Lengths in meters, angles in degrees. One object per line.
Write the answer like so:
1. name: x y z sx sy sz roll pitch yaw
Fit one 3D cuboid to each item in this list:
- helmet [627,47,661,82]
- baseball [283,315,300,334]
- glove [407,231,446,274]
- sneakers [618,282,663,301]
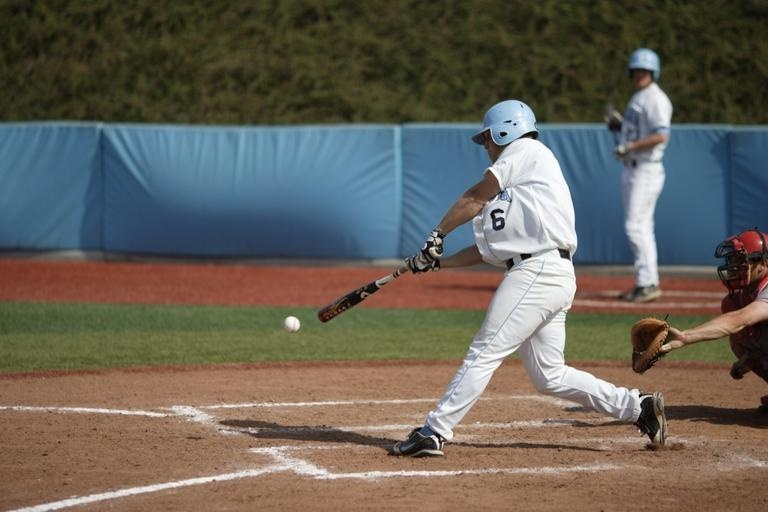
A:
1. helmet: 3.868 -2.799 20.792 0.409 0.342 0.503 1 -1 40
2. baseball: -1.248 0.944 19.254 0.269 0.227 0.247 -1 7 -12
3. glove: 0.493 -0.081 16.967 0.280 0.505 0.417 35 30 27
4. sneakers: 3.821 0.561 21.182 0.652 0.251 0.222 2 7 35
